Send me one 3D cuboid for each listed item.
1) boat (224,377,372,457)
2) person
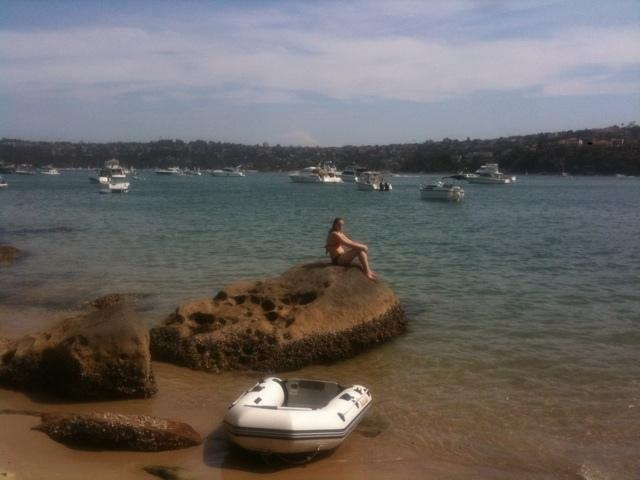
[{"bbox_3d":[-0.340,2.538,8.377,1.973,0.539,1.929,2,4,15],"label":"boat"},{"bbox_3d":[0.607,0.116,12.533,0.951,1.209,1.975,-1,7,0],"label":"person"}]
